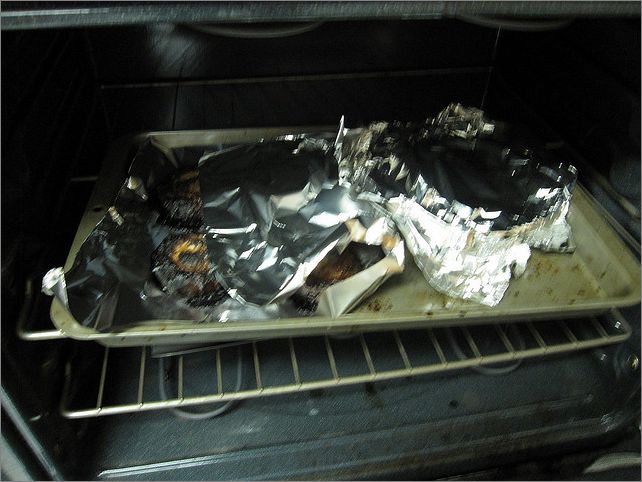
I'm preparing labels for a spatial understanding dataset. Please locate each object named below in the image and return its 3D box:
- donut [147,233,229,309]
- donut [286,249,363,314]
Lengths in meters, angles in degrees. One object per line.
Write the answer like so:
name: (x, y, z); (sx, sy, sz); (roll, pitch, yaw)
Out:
donut: (-0.185, 0.042, 0.698); (0.083, 0.080, 0.093); (-18, 24, -19)
donut: (0.006, 0.067, 0.729); (0.088, 0.024, 0.077); (-32, 40, -3)
